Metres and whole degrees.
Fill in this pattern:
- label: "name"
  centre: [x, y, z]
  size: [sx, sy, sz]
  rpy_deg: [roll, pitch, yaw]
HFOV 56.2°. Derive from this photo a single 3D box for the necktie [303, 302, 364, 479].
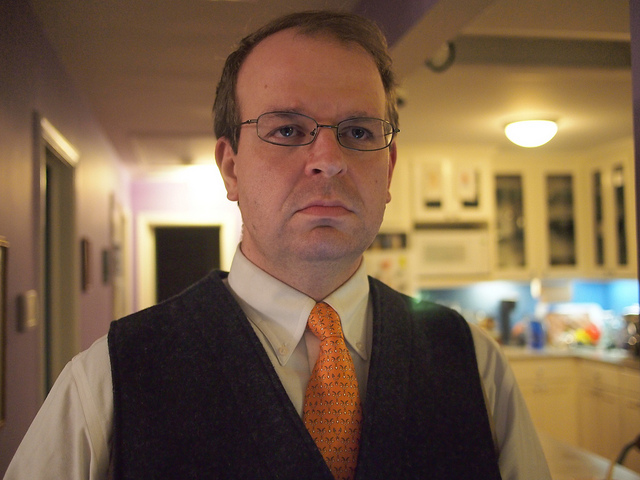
- label: "necktie"
  centre: [0.026, 0.293, 1.196]
  size: [0.115, 0.338, 0.098]
  rpy_deg: [-1, -5, 2]
